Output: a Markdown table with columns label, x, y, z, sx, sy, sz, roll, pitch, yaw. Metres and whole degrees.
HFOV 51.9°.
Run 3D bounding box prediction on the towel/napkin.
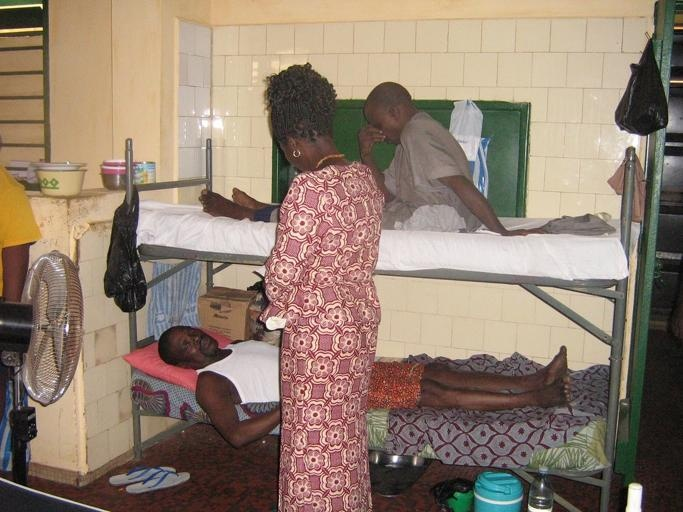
| label | x | y | z | sx | sy | sz | roll | pitch | yaw |
| --- | --- | --- | --- | --- | --- | --- | --- | --- | --- |
| towel/napkin | -1.284 | 0.332 | 5.335 | 0.068 | 0.644 | 0.471 | 10 | 18 | 38 |

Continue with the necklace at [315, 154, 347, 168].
| label | x | y | z | sx | sy | sz | roll | pitch | yaw |
| --- | --- | --- | --- | --- | --- | --- | --- | --- | --- |
| necklace | -0.056 | -0.486 | 3.560 | 0.113 | 0.042 | 0.085 | -12 | 38 | 41 |

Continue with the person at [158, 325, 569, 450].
| label | x | y | z | sx | sy | sz | roll | pitch | yaw |
| --- | --- | --- | --- | --- | --- | --- | --- | --- | --- |
| person | 0.155 | 0.757 | 4.853 | 2.770 | 0.804 | 1.080 | -4 | 10 | 0 |

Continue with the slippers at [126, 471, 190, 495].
| label | x | y | z | sx | sy | sz | roll | pitch | yaw |
| --- | --- | --- | --- | --- | --- | --- | --- | --- | --- |
| slippers | -1.240 | 1.535 | 4.787 | 0.291 | 0.060 | 0.151 | -5 | 4 | -22 |

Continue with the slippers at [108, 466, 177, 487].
| label | x | y | z | sx | sy | sz | roll | pitch | yaw |
| --- | --- | --- | --- | --- | --- | --- | --- | --- | --- |
| slippers | -1.395 | 1.514 | 4.889 | 0.402 | 0.085 | 0.157 | -8 | 4 | -24 |

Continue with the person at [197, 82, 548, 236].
| label | x | y | z | sx | sy | sz | roll | pitch | yaw |
| --- | --- | --- | --- | --- | --- | --- | --- | --- | --- |
| person | 0.264 | -0.623 | 4.908 | 2.316 | 1.036 | 0.758 | 2 | 7 | 17 |

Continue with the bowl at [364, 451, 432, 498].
| label | x | y | z | sx | sy | sz | roll | pitch | yaw |
| --- | --- | --- | --- | --- | --- | --- | --- | --- | --- |
| bowl | 0.361 | 1.448 | 4.745 | 0.339 | 0.226 | 0.347 | 1 | -3 | 0 |
